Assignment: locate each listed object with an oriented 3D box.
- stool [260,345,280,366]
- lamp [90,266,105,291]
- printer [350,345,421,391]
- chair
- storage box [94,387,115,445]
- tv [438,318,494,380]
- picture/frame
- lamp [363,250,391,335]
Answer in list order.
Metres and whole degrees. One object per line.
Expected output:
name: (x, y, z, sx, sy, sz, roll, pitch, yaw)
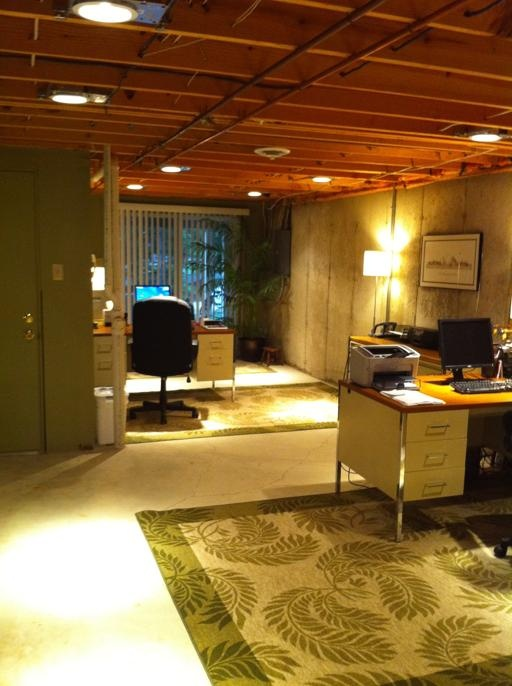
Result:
stool: (0.267, 0.213, 9.702, 0.345, 0.342, 0.325, -3, 12, -18)
lamp: (-1.847, -0.751, 6.242, 0.133, 0.295, 0.313, 0, 6, -20)
printer: (0.837, 0.133, 3.688, 0.359, 0.209, 0.346, -2, 6, -16)
chair: (-0.997, 0.190, 5.813, 0.781, 1.373, 0.664, 0, 6, -13)
storage box: (-1.451, 0.719, 5.088, 0.174, 0.482, 0.424, 0, 6, -17)
tv: (1.536, 0.038, 3.899, 0.524, 0.482, 0.180, -1, 0, -20)
picture/frame: (2.082, -0.879, 5.766, 0.913, 0.589, 0.027, -3, 9, -27)
lamp: (1.575, -0.706, 6.990, 0.335, 1.041, 0.652, 3, 6, 13)
